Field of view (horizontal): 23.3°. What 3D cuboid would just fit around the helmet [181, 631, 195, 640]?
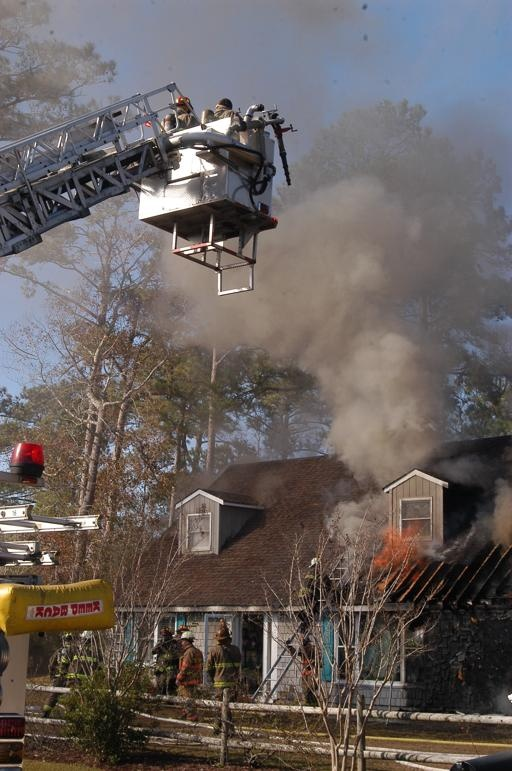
[{"bbox_3d":[-0.999,3.594,17.714,0.138,0.147,0.182,2,7,33],"label":"helmet"}]

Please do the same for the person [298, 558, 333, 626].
[{"bbox_3d":[0.709,2.716,15.898,0.263,1.107,0.384,14,23,43],"label":"person"}]

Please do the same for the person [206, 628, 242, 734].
[{"bbox_3d":[-0.367,3.973,17.141,0.406,1.392,0.405,-7,8,-3],"label":"person"}]
